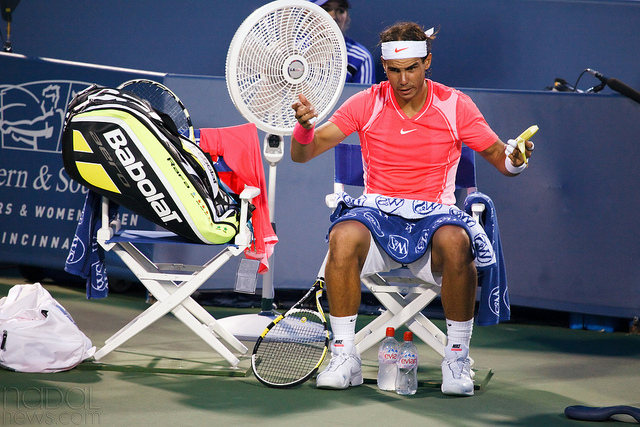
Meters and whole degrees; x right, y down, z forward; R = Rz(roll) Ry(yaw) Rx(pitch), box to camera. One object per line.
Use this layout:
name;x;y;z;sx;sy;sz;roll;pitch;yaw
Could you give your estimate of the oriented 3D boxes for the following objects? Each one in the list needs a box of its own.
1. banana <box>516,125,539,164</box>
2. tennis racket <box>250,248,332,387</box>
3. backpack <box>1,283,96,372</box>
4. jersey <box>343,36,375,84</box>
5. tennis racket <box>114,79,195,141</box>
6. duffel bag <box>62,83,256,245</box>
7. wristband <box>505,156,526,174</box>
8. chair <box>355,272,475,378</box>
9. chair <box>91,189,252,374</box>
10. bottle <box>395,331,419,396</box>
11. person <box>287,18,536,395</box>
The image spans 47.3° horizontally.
banana;1.183;-0.404;4.215;0.107;0.219;0.343;6;10;16
tennis racket;-0.174;0.572;4.281;0.435;0.748;0.584;2;10;-3
backpack;-1.655;0.673;4.276;0.576;0.438;0.322;4;10;9
jersey;0.374;-1.412;6.552;0.211;0.543;0.583;9;11;-1
tennis racket;-1.194;-0.747;5.082;0.132;0.432;0.741;-24;45;-36
duffel bag;-0.988;-0.281;4.317;1.024;0.899;0.221;2;10;-4
wristband;1.152;-0.286;4.308;0.084;0.080;0.103;18;28;6
chair;0.532;0.640;4.671;0.674;0.463;0.659;1;-5;17
chair;-0.935;0.412;4.756;1.083;1.067;1.112;-3;-9;37
bottle;0.495;0.844;4.152;0.138;0.331;0.183;5;10;10
person;0.494;-0.068;4.320;1.357;2.118;0.873;2;10;-2
